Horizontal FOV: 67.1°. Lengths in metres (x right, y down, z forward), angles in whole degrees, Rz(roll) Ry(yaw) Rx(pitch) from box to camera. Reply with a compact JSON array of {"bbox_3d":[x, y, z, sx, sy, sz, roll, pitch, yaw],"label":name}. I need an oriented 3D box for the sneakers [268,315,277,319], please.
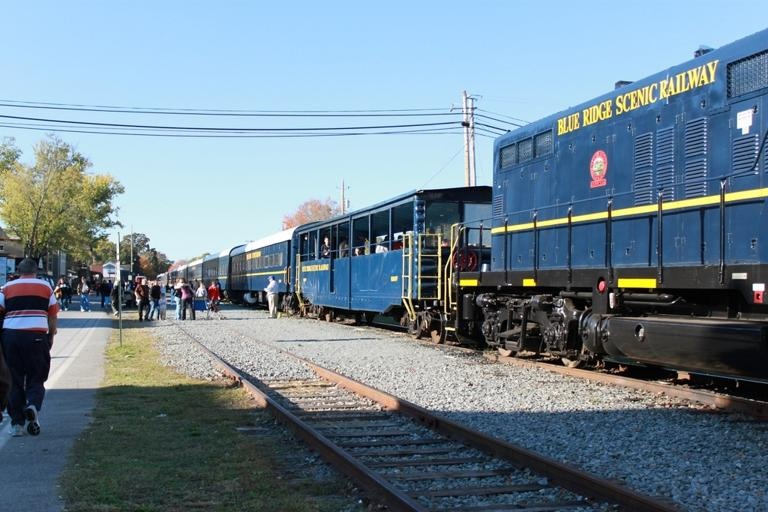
[{"bbox_3d":[-5.210,2.824,26.999,0.406,0.153,0.119,8,-8,-11],"label":"sneakers"}]
